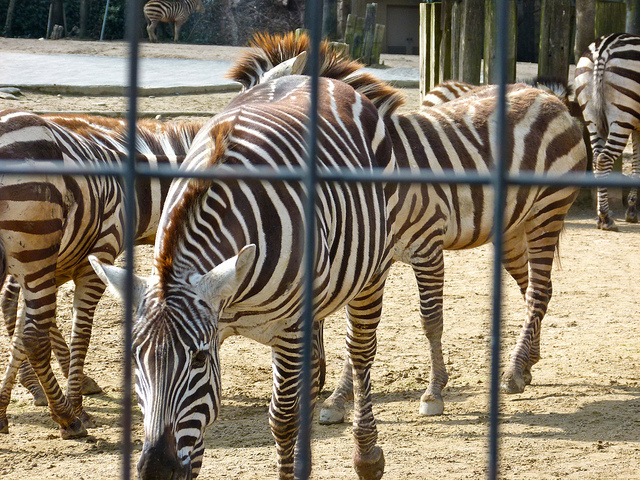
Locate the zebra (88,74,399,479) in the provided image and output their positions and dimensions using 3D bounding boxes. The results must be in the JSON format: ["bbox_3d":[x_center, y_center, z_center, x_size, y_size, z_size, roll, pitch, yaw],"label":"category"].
[{"bbox_3d":[-0.522,0.374,12.729,2.531,3.528,1.000,-1,9,-39],"label":"zebra"}]

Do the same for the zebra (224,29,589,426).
[{"bbox_3d":[0.954,-0.128,14.374,4.272,3.729,1.253,-9,11,-35],"label":"zebra"}]
